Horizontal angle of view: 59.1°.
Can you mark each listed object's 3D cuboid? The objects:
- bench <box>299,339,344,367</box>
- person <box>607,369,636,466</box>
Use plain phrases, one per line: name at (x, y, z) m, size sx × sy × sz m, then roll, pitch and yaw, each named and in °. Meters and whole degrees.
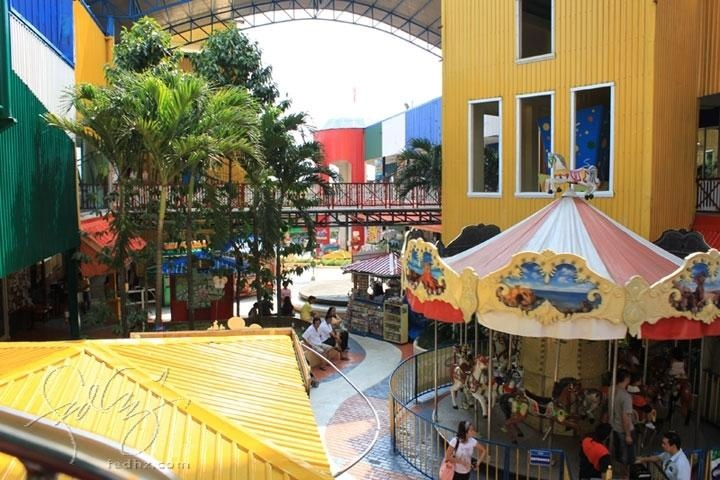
bench at (-1.170, 3.261, 17.779) m, size 0.821 × 0.794 × 1.961 m, roll 0°, pitch -1°, yaw 13°
person at (4.906, 3.355, 11.895) m, size 0.409 × 1.686 × 0.995 m, roll 0°, pitch -1°, yaw 24°
